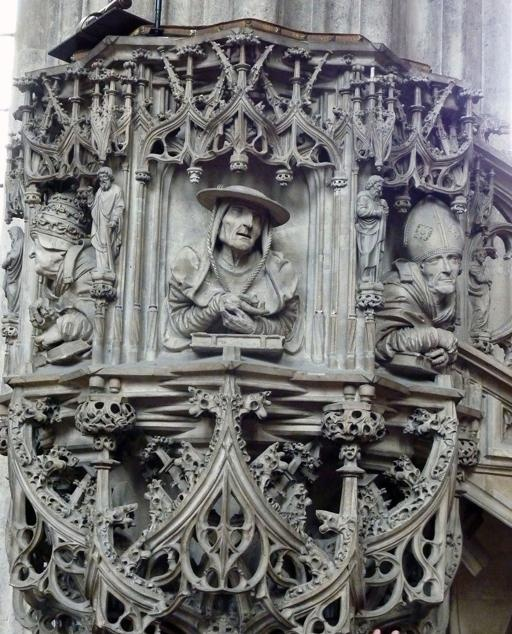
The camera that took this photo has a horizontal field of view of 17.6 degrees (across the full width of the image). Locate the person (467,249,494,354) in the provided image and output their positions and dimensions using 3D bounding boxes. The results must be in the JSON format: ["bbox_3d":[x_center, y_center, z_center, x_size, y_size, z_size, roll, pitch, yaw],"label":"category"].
[{"bbox_3d":[1.921,-0.147,14.001,0.194,0.728,0.347,2,-1,36],"label":"person"}]

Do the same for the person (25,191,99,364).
[{"bbox_3d":[-1.465,-0.322,12.595,0.470,1.203,0.696,3,-1,-12],"label":"person"}]

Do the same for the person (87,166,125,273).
[{"bbox_3d":[-1.090,-0.718,12.323,0.233,0.734,0.377,3,-1,-11],"label":"person"}]

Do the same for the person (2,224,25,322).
[{"bbox_3d":[-1.960,-0.380,13.389,0.158,0.699,0.487,3,-1,-10],"label":"person"}]

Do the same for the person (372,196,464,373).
[{"bbox_3d":[1.249,-0.276,12.678,0.620,1.091,0.564,2,-1,6],"label":"person"}]

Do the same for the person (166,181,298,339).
[{"bbox_3d":[-0.181,-0.383,12.223,1.011,1.192,0.671,3,-23,-7],"label":"person"}]
